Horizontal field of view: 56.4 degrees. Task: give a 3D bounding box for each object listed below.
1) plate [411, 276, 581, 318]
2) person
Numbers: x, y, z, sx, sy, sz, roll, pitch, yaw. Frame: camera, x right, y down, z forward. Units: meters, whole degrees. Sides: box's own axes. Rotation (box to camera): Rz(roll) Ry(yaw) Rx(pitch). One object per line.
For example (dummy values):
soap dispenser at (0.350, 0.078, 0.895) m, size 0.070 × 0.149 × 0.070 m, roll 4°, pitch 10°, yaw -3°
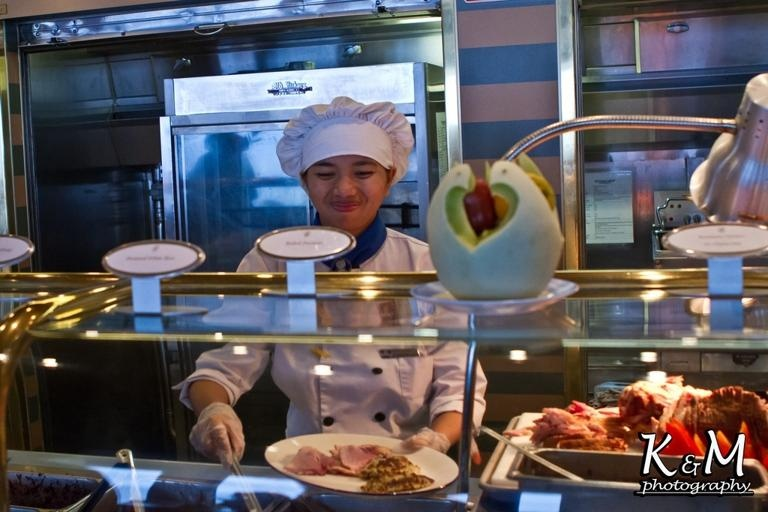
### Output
plate at (0.224, 0.088, 1.463) m, size 0.334 × 0.057 × 0.188 m, roll -2°, pitch 5°, yaw 2°
person at (-0.093, -0.019, 2.001) m, size 0.726 × 0.936 × 1.123 m, roll -2°, pitch 6°, yaw 7°
